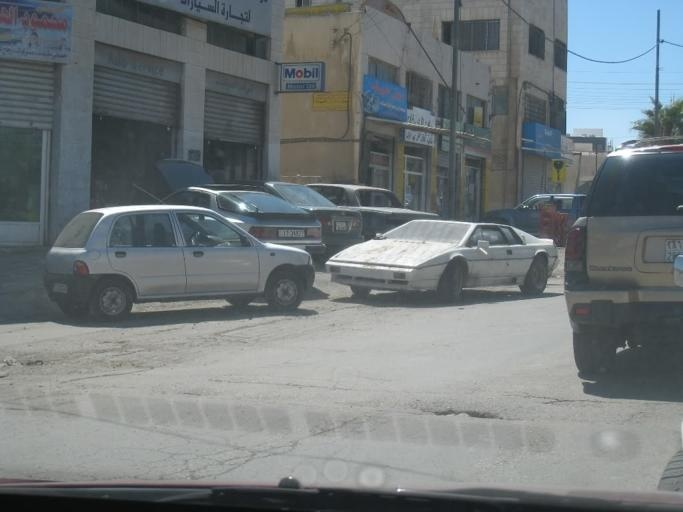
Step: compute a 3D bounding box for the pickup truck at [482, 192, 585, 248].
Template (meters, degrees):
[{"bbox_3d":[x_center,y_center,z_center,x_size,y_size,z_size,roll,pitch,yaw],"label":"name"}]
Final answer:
[{"bbox_3d":[6.673,-1.395,27.525,4.554,2.129,2.017,0,1,44],"label":"pickup truck"}]
